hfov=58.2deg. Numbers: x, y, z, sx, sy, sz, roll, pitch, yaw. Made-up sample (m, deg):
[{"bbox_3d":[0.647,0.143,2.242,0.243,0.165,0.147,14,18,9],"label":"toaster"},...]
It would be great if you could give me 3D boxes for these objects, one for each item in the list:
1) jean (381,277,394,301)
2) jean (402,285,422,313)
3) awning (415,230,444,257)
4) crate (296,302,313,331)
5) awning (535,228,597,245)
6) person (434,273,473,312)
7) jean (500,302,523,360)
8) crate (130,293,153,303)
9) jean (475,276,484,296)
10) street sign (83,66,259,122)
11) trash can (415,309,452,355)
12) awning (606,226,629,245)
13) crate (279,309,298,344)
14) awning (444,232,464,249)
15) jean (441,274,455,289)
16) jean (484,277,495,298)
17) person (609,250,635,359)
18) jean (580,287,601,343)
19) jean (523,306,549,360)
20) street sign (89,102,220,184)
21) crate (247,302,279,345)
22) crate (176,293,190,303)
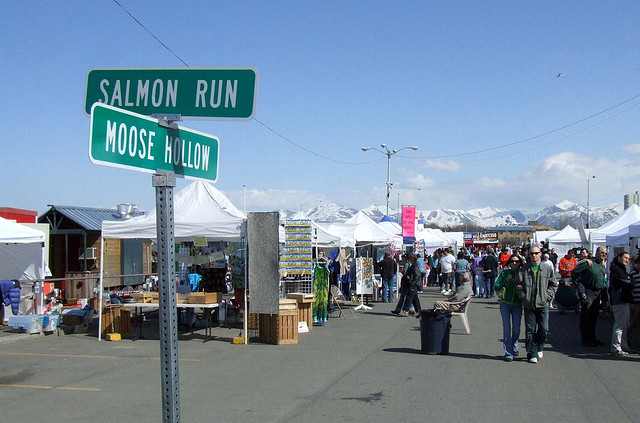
[{"bbox_3d":[2.920,3.411,24.947,0.427,0.913,0.995,-3,-9,15],"label":"jean"},{"bbox_3d":[3.217,3.023,20.033,0.556,0.905,0.661,2,-9,-19],"label":"jean"},{"bbox_3d":[7.618,2.169,39.968,2.340,1.728,2.430,4,6,28],"label":"awning"},{"bbox_3d":[-0.423,3.032,16.646,0.368,0.810,0.699,-2,-9,4],"label":"crate"},{"bbox_3d":[16.260,1.720,38.174,1.988,1.042,2.046,-1,-10,5],"label":"awning"},{"bbox_3d":[3.832,2.286,16.239,0.744,1.067,1.572,-5,-10,24],"label":"person"},{"bbox_3d":[4.479,2.743,13.316,0.461,1.293,0.493,-4,-9,17],"label":"jean"},{"bbox_3d":[-4.932,2.388,15.945,0.517,0.252,0.416,1,-9,-15],"label":"crate"},{"bbox_3d":[7.546,3.523,27.076,0.314,0.875,0.479,-2,-9,6],"label":"jean"},{"bbox_3d":[-1.637,-1.347,6.701,1.632,0.615,0.027,1,-1,-3],"label":"street sign"},{"bbox_3d":[2.769,2.860,13.720,0.712,1.053,0.383,-3,-9,11],"label":"trash can"},{"bbox_3d":[10.222,0.915,19.746,0.872,0.606,0.895,1,4,45],"label":"awning"},{"bbox_3d":[-0.827,2.977,14.945,0.488,0.882,0.165,3,-10,-26],"label":"crate"},{"bbox_3d":[13.994,2.969,59.785,2.334,1.514,2.357,-1,-11,11],"label":"awning"},{"bbox_3d":[6.649,3.687,29.965,0.698,0.966,0.347,-2,-6,16],"label":"jean"},{"bbox_3d":[7.838,3.489,26.503,0.427,0.947,0.893,-3,-9,14],"label":"jean"},{"bbox_3d":[7.212,2.211,13.860,0.540,2.483,1.117,-6,-10,32],"label":"person"},{"bbox_3d":[6.987,2.659,14.878,0.636,1.406,0.330,2,-9,-22],"label":"jean"},{"bbox_3d":[4.918,2.727,13.105,0.535,1.239,0.484,-1,-2,4],"label":"jean"},{"bbox_3d":[-1.826,-0.720,6.564,1.656,0.646,0.023,10,-9,-40],"label":"street sign"},{"bbox_3d":[-1.479,3.081,15.516,0.927,1.138,0.676,-1,1,5],"label":"crate"},{"bbox_3d":[-3.769,2.374,15.817,0.321,0.273,1.179,1,-9,-15],"label":"crate"}]
